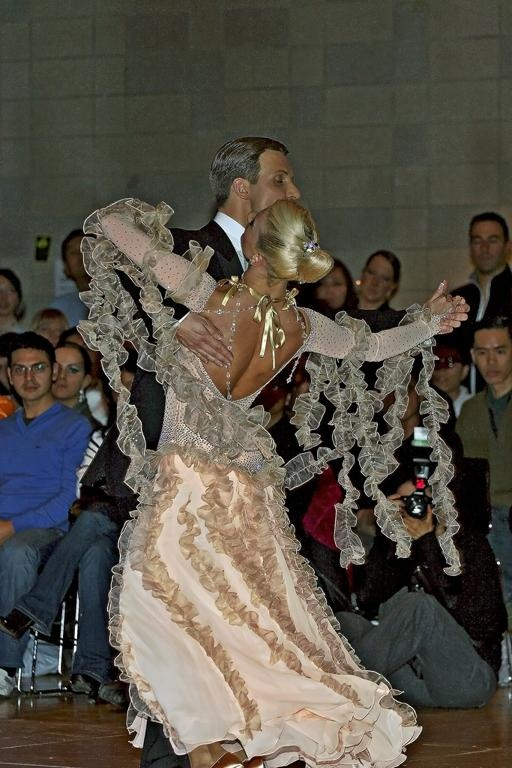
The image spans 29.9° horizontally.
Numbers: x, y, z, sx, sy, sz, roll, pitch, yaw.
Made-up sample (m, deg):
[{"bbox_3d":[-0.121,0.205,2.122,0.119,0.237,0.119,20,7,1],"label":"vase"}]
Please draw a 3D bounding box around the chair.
[{"bbox_3d":[-0.812,1.163,4.131,0.235,0.365,0.201,23,-30,-25],"label":"chair"}]
